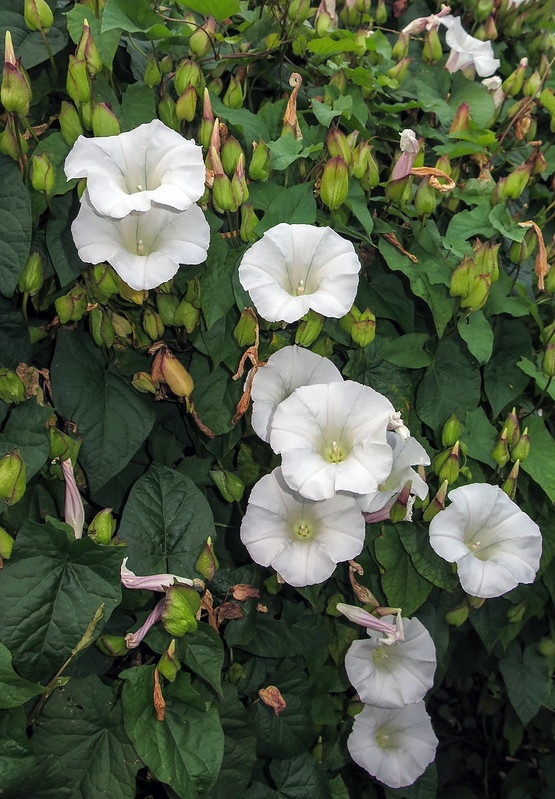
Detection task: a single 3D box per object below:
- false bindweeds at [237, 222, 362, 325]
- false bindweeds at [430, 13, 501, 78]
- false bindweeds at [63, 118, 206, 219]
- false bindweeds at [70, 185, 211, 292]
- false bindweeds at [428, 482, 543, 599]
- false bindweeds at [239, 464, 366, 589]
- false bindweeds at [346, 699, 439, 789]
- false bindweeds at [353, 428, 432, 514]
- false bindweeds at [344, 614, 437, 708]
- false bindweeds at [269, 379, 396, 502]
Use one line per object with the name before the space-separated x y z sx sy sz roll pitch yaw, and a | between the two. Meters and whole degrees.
false bindweeds | 0.040 -0.251 1.518 0.251 0.159 0.280 17 47 2
false bindweeds | 0.634 -1.235 2.304 0.202 0.101 0.211 33 20 17
false bindweeds | -0.300 -0.443 1.513 0.268 0.129 0.267 -19 69 -17
false bindweeds | -0.320 -0.387 1.542 0.232 0.129 0.261 -9 12 -35
false bindweeds | 0.508 0.365 1.707 0.268 0.115 0.225 -18 73 -12
false bindweeds | 0.082 0.306 1.679 0.280 0.139 0.290 -39 76 -1
false bindweeds | 0.323 0.913 1.940 0.266 0.125 0.275 11 72 -17
false bindweeds | 0.253 0.126 1.688 0.181 0.086 0.183 27 16 21
false bindweeds | 0.298 0.693 1.786 0.230 0.167 0.167 -9 51 -21
false bindweeds | 0.130 0.104 1.503 0.254 0.104 0.259 -26 53 -15
